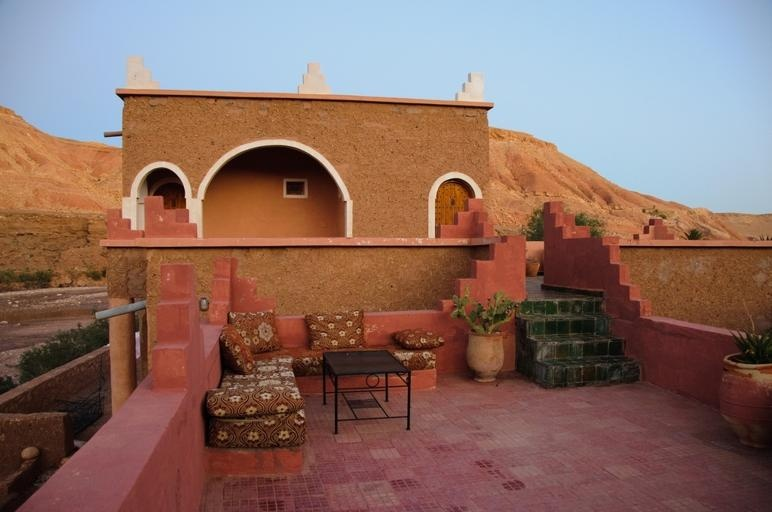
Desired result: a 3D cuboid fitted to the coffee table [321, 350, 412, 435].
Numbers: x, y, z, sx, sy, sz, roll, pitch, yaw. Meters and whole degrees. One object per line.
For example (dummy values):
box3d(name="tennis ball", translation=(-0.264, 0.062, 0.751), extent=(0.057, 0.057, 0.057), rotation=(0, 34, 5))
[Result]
box3d(name="coffee table", translation=(-0.305, 1.752, 7.461), extent=(0.944, 0.673, 1.341), rotation=(1, 1, -8))

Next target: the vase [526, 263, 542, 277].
box3d(name="vase", translation=(4.069, 0.375, 14.773), extent=(0.470, 0.302, 0.467), rotation=(0, -2, -5))

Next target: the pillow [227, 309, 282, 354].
box3d(name="pillow", translation=(-1.969, 1.152, 7.876), extent=(0.243, 0.485, 0.702), rotation=(-42, -27, 30))
